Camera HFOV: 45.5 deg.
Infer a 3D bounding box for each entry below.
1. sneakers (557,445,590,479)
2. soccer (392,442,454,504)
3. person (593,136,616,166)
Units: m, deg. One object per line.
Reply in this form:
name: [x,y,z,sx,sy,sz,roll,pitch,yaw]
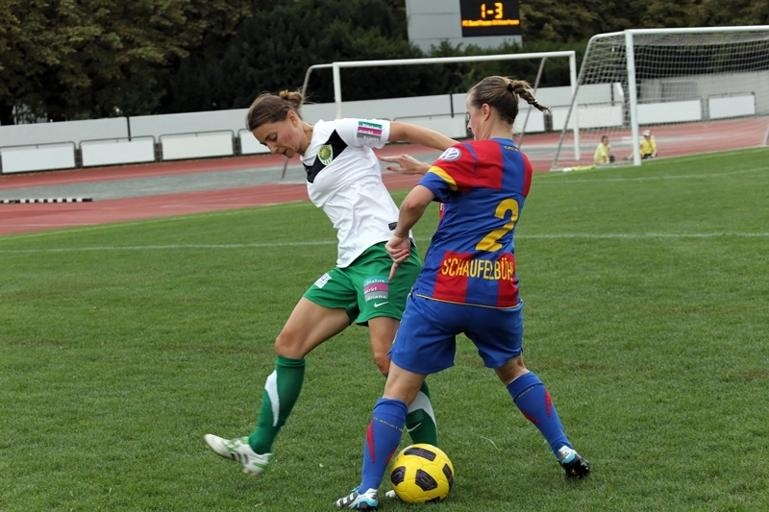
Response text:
sneakers: [1.658,1.824,8.009,0.202,0.167,0.402,26,4,-9]
soccer: [0.321,1.901,7.960,0.492,0.459,0.497,-11,-18,34]
person: [5.696,-2.755,23.726,0.481,0.700,1.491,-3,9,16]
